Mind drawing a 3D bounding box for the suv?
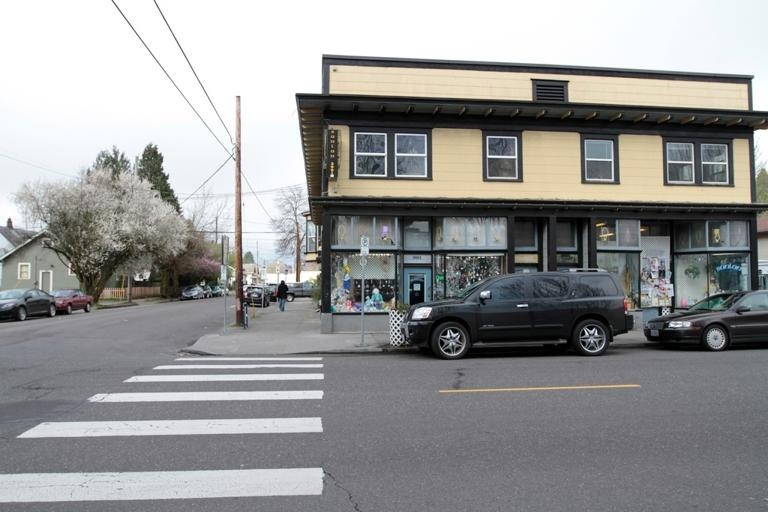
[{"bbox_3d":[3.890,1.890,21.939,6.036,2.596,2.945,1,-8,-4],"label":"suv"}]

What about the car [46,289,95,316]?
[{"bbox_3d":[-17.481,2.500,39.330,1.172,0.959,2.726,-3,-7,11],"label":"car"}]
